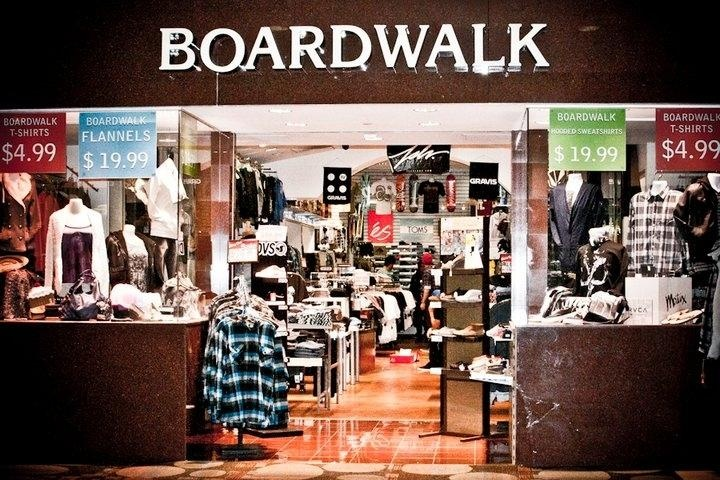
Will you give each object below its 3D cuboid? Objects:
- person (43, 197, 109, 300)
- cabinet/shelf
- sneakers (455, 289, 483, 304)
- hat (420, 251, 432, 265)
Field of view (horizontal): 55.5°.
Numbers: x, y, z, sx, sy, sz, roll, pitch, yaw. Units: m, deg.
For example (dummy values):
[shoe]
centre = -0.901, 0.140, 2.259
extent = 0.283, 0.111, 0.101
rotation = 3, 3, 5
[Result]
[person]
centre = -3.208, 0.039, 7.761
extent = 0.720, 1.223, 0.353
rotation = 1, 33, -23
[cabinet/shelf]
centre = 1.190, 0.948, 7.791
extent = 0.605, 2.464, 1.141
rotation = -2, 0, 10
[sneakers]
centre = 1.209, 0.637, 7.663
extent = 0.306, 0.124, 0.122
rotation = 1, -4, 4
[hat]
centre = 1.404, 0.401, 14.695
extent = 0.198, 0.248, 0.264
rotation = 3, 12, 10
